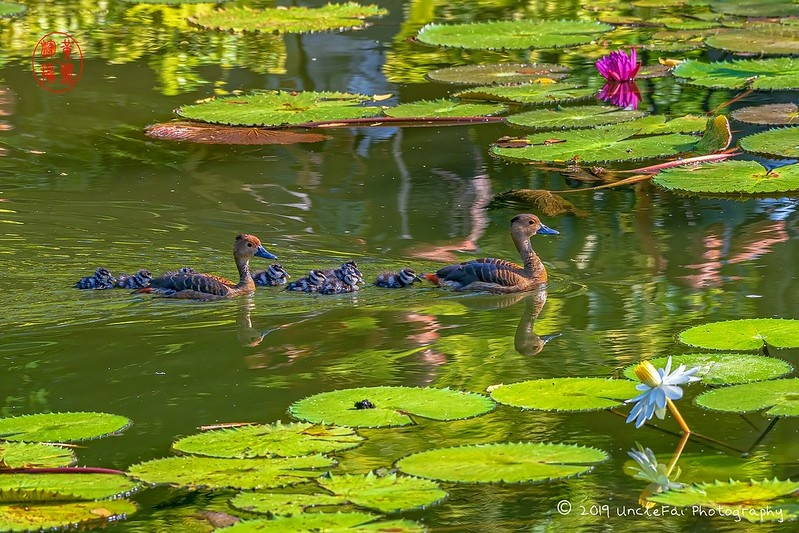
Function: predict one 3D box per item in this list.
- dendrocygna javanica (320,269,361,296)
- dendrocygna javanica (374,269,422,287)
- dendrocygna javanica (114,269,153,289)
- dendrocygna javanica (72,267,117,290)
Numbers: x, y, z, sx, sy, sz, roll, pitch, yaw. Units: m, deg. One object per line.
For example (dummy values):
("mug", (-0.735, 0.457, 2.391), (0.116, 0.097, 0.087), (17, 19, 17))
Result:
("dendrocygna javanica", (-0.732, 0.195, 10.343), (0.572, 0.135, 0.339), (-10, 25, -32))
("dendrocygna javanica", (-0.027, 0.140, 10.447), (0.567, 0.224, 0.201), (-1, 11, -1))
("dendrocygna javanica", (-3.145, 0.150, 10.379), (0.497, 0.114, 0.248), (-8, 12, 10))
("dendrocygna javanica", (-3.638, 0.156, 10.322), (0.562, 0.131, 0.284), (-3, 10, -3))
